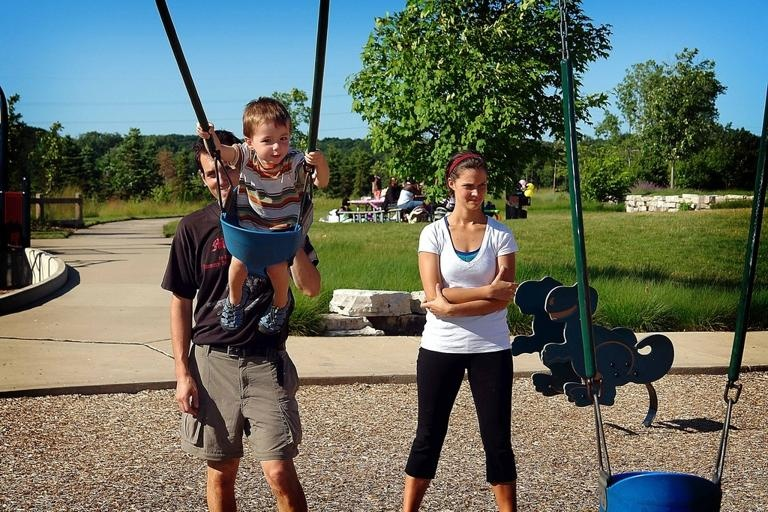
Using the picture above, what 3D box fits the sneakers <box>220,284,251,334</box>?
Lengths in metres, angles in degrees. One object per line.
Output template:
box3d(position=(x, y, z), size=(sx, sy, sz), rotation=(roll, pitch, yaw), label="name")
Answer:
box3d(position=(-1.062, 0.359, 4.981), size=(0.148, 0.363, 0.139), rotation=(4, 12, -6), label="sneakers")

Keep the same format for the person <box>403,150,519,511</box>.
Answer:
box3d(position=(0.626, 0.830, 5.671), size=(0.843, 2.199, 0.778), rotation=(1, 9, 10), label="person")

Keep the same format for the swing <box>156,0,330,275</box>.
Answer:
box3d(position=(-0.820, -0.636, 4.233), size=(0.924, 1.705, 0.982), rotation=(-4, 10, -18), label="swing")

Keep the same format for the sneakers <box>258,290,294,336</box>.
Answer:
box3d(position=(-0.769, 0.430, 5.058), size=(0.171, 0.364, 0.140), rotation=(24, 1, 6), label="sneakers")
